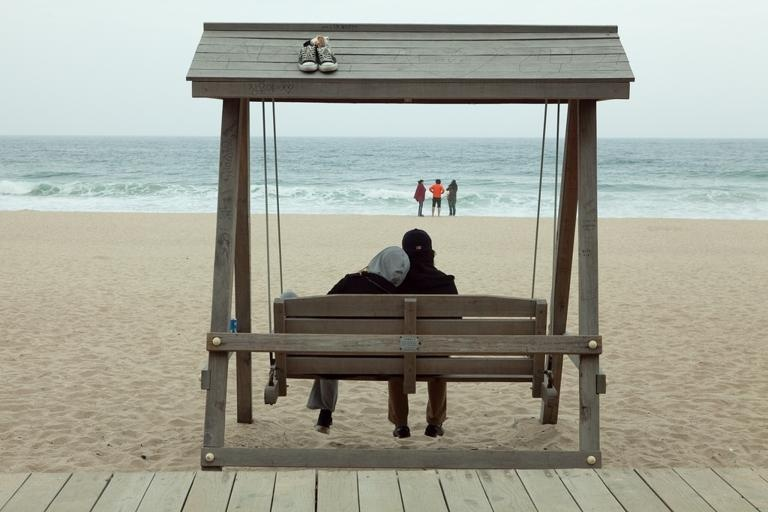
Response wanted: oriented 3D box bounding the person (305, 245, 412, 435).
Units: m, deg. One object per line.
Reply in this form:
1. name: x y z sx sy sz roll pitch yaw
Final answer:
1. person: -0.257 0.914 8.945 1.085 1.986 0.563 -1 10 -8

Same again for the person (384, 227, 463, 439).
1. person: 0.434 0.843 9.263 0.940 2.187 0.749 0 8 0
